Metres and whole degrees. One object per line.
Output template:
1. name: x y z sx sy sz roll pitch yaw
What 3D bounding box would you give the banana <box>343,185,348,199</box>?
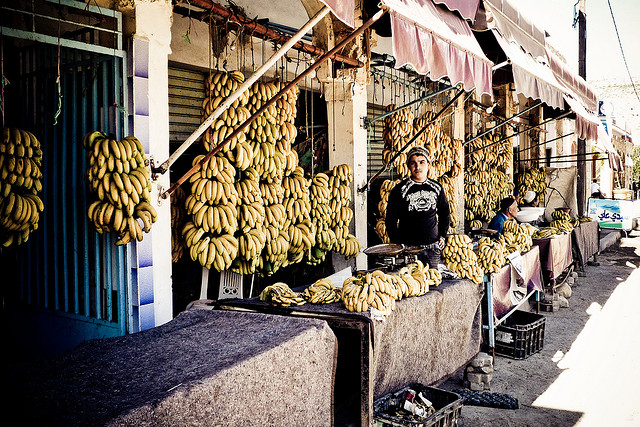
1. banana: 0.333 -0.276 7.091 0.026 0.153 0.075 4 6 44

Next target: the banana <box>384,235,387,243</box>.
1. banana: 0.994 0.377 8.364 0.018 0.084 0.057 2 7 -20

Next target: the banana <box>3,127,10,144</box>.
1. banana: -2.902 -0.717 5.155 0.054 0.146 0.081 -3 5 -31

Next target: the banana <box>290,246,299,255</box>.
1. banana: -0.296 0.440 6.573 0.034 0.186 0.047 32 -9 1

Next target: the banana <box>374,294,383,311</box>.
1. banana: 0.544 0.821 5.100 0.077 0.129 0.065 1 5 14

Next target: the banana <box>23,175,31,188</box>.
1. banana: -2.787 -0.299 5.297 0.020 0.095 0.055 6 -4 37

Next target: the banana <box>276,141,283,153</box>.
1. banana: -0.452 -0.763 6.391 0.060 0.129 0.030 0 4 4

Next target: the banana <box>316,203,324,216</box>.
1. banana: 0.011 -0.046 6.704 0.033 0.132 0.036 -21 4 24

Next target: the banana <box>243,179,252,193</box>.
1. banana: -0.776 -0.292 6.021 0.095 0.134 0.054 2 5 24

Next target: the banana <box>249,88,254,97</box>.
1. banana: -0.742 -1.325 6.099 0.039 0.086 0.025 10 -8 -23

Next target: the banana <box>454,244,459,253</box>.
1. banana: 1.588 0.414 6.424 0.054 0.074 0.044 -3 6 -32

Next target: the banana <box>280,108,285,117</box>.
1. banana: -0.420 -1.155 6.320 0.050 0.080 0.020 -2 17 -2

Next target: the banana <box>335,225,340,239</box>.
1. banana: 0.224 0.234 7.082 0.076 0.161 0.060 -4 6 -41

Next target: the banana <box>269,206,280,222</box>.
1. banana: -0.492 0.010 6.182 0.098 0.158 0.051 0 4 -1

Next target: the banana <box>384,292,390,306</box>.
1. banana: 0.639 0.804 5.194 0.038 0.105 0.028 5 -16 -31

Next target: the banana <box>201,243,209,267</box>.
1. banana: -1.172 0.436 5.702 0.050 0.205 0.063 7 -13 -12

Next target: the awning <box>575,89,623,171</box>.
1. awning: 5.772 -1.662 11.446 0.832 1.588 2.949 3 6 28

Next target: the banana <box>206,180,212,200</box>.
1. banana: -1.137 -0.243 5.739 0.059 0.186 0.036 -1 4 -15

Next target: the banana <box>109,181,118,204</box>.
1. banana: -1.859 -0.190 5.050 0.047 0.194 0.058 -8 -3 -10

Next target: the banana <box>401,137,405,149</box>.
1. banana: 1.217 -1.027 8.085 0.035 0.150 0.026 -4 -1 -26

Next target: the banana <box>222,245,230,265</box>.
1. banana: -0.963 0.430 5.746 0.043 0.174 0.057 -20 4 -28

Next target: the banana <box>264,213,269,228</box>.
1. banana: -0.580 0.079 6.100 0.033 0.150 0.037 -9 -12 19

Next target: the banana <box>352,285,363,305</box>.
1. banana: 0.365 0.756 5.187 0.048 0.069 0.208 -12 34 38

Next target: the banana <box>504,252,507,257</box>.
1. banana: 2.431 0.533 7.238 0.019 0.055 0.104 3 6 30

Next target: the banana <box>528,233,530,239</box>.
1. banana: 3.136 0.338 8.317 0.024 0.096 0.020 19 -37 -2

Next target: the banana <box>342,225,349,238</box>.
1. banana: 0.340 0.231 7.179 0.098 0.055 0.216 4 45 -1

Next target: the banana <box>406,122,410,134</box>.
1. banana: 1.301 -1.248 8.156 0.016 0.164 0.083 4 6 40

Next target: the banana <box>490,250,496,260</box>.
1. banana: 2.104 0.502 6.742 0.055 0.102 0.021 26 -14 -14

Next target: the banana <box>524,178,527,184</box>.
1. banana: 4.738 -0.743 12.769 0.028 0.130 0.021 -1 -11 22

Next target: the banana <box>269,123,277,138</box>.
1. banana: -0.509 -0.922 6.190 0.064 0.127 0.030 -19 30 -19

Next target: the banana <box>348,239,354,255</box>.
1. banana: 0.425 0.436 7.205 0.041 0.160 0.122 -2 -7 41

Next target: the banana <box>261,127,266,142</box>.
1. banana: -0.619 -0.854 6.167 0.035 0.130 0.034 -2 0 -16

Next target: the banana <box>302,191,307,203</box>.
1. banana: -0.171 -0.192 6.539 0.042 0.091 0.063 2 -7 16

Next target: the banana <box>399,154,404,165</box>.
1. banana: 1.195 -0.784 8.090 0.046 0.145 0.112 3 5 32

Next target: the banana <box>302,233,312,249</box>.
1. banana: -0.148 0.331 6.559 0.039 0.126 0.118 -32 24 -16

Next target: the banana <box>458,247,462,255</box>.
1. banana: 1.622 0.435 6.400 0.044 0.072 0.050 1 5 16

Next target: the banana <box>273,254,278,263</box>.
1. banana: -0.496 0.508 6.246 0.021 0.094 0.022 14 -6 -16

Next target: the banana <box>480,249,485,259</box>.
1. banana: 1.986 0.509 6.764 0.054 0.089 0.048 1 5 6

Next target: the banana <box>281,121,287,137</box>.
1. banana: -0.404 -0.961 6.390 0.063 0.163 0.041 2 5 25

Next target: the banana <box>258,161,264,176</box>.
1. banana: -0.645 -0.499 6.191 0.034 0.149 0.035 5 -3 -12

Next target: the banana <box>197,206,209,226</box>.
1. banana: -1.203 0.021 5.739 0.030 0.186 0.118 4 6 39

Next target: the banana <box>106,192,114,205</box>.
1. banana: -1.908 -0.132 5.071 0.042 0.127 0.031 -25 5 -38

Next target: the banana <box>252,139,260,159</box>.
1. banana: -0.696 -0.710 6.141 0.044 0.185 0.044 13 -16 -31

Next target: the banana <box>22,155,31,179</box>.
1. banana: -2.771 -0.437 5.257 0.050 0.213 0.044 -8 12 -37

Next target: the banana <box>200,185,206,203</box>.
1. banana: -1.192 -0.188 5.728 0.034 0.151 0.044 4 -9 1

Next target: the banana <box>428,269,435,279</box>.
1. banana: 1.215 0.657 6.021 0.049 0.100 0.025 -6 -21 -28

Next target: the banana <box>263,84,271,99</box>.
1. banana: -0.579 -1.351 6.216 0.054 0.180 0.045 -19 -4 -22

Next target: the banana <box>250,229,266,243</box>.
1. banana: -0.629 0.239 5.995 0.093 0.185 0.043 -16 -29 -24

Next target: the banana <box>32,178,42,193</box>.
1. banana: -2.733 -0.271 5.400 0.057 0.122 0.030 -4 20 -7

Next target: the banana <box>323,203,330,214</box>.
1. banana: 0.096 -0.062 6.801 0.019 0.093 0.069 -13 19 24

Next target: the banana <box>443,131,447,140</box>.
1. banana: 2.059 -1.250 9.093 0.061 0.091 0.209 1 5 12
